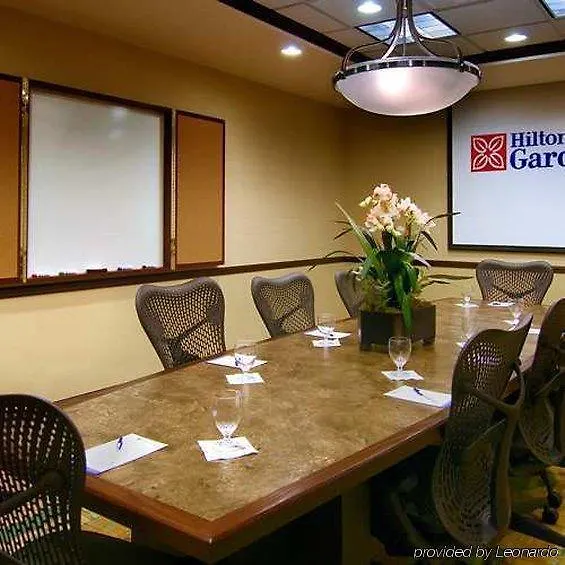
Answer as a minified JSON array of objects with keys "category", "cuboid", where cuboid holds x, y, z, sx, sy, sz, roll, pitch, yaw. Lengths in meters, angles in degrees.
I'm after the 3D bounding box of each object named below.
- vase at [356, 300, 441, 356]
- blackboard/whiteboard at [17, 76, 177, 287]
[{"category":"vase","cuboid":[0.547,0.153,2.252,0.224,0.201,0.344,1,2,43]},{"category":"blackboard/whiteboard","cuboid":[-1.594,-0.877,3.820,0.079,1.909,1.841,3,4,34]}]
